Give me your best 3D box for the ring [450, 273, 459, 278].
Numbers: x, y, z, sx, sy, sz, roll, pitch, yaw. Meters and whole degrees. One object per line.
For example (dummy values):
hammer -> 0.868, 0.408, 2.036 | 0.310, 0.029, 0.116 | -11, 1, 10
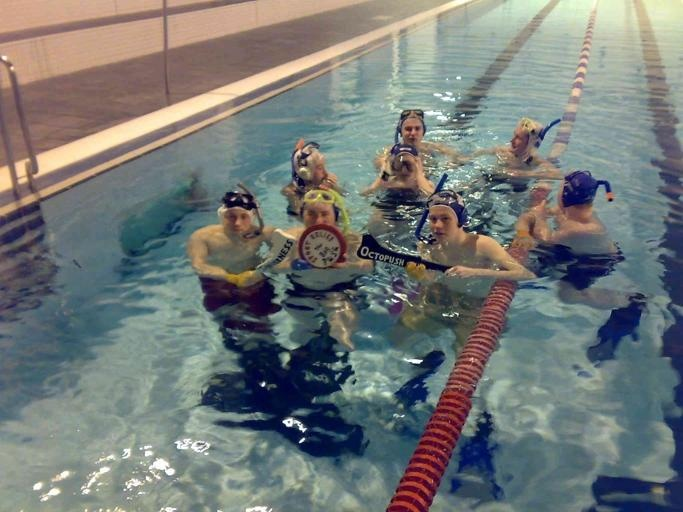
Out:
ring -> 0.623, 0.106, 3.162 | 0.049, 0.017, 0.022 | 7, -21, -31

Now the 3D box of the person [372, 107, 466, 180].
person -> 0.612, -0.926, 4.787 | 1.025, 0.444, 0.437 | -6, 16, -9

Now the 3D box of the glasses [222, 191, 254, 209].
glasses -> -0.607, -0.322, 3.380 | 0.168, 0.046, 0.138 | 6, 3, -19

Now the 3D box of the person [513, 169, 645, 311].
person -> 1.584, -0.091, 3.749 | 0.956, 0.646, 0.520 | 23, 27, 35

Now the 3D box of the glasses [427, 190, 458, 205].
glasses -> 0.568, -0.328, 3.236 | 0.115, 0.045, 0.132 | 2, 5, 30

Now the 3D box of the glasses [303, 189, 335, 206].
glasses -> -0.123, -0.326, 3.252 | 0.160, 0.102, 0.036 | 0, 32, 0

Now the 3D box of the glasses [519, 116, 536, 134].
glasses -> 1.520, -1.061, 4.643 | 0.118, 0.089, 0.146 | 31, 22, 26
